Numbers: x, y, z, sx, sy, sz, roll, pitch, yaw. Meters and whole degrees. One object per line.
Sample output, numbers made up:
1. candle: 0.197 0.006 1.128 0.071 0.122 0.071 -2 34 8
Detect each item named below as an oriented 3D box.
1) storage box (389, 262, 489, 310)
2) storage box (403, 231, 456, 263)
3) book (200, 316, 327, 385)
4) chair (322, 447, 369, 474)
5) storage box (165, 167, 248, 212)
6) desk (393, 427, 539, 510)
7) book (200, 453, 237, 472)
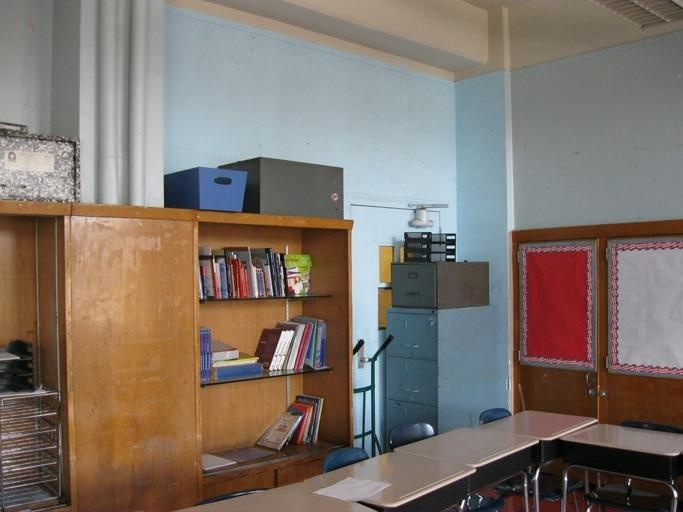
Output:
1. storage box: 1.083 0.298 6.101 1.062 0.486 0.476 -2 1 -29
2. storage box: 0.947 -0.094 6.138 0.668 0.309 0.308 -2 1 -38
3. book: -0.655 0.754 4.808 1.178 0.454 0.375 -2 1 -37
4. chair: 0.024 1.377 4.020 0.194 0.262 0.184 2 -11 -27
5. storage box: -1.050 -0.469 4.304 0.661 0.317 0.285 -1 1 10
6. desk: 0.904 1.353 4.149 0.534 0.507 0.683 1 1 43
7. book: -0.929 1.552 4.478 0.255 0.021 0.370 -1 1 -16
